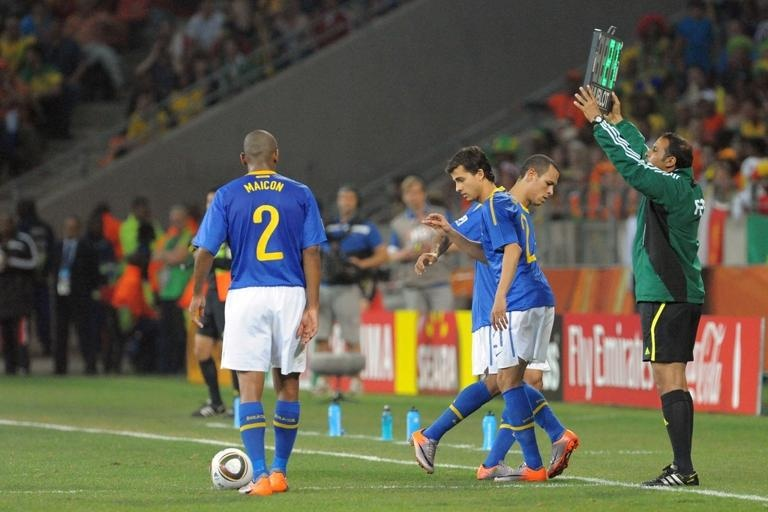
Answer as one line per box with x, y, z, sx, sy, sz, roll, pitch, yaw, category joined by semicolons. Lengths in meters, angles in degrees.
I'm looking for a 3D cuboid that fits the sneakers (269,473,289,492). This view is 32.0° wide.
-1.125;2.328;14.004;0.198;0.217;0.159;2;-10;-7;sneakers

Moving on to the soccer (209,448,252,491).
-1.643;2.223;14.243;0.482;0.501;0.493;-3;-15;-8;soccer

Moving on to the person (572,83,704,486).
2.966;0.310;14.397;1.320;4.200;0.622;7;-11;-35;person

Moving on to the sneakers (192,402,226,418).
-2.412;2.075;18.286;0.512;0.226;0.175;4;-3;-14;sneakers

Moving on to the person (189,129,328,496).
-1.326;0.559;14.172;1.350;3.819;0.554;1;-9;-3;person

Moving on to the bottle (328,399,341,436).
-0.637;2.044;17.079;0.188;0.465;0.490;1;-10;-2;bottle

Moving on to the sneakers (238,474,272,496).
-1.350;2.357;13.903;0.311;0.138;0.167;-3;-7;37;sneakers

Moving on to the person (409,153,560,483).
1.245;0.600;14.518;1.284;3.535;0.786;0;-9;2;person

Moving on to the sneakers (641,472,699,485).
3.069;2.359;14.323;0.593;0.203;0.200;2;-10;-3;sneakers
